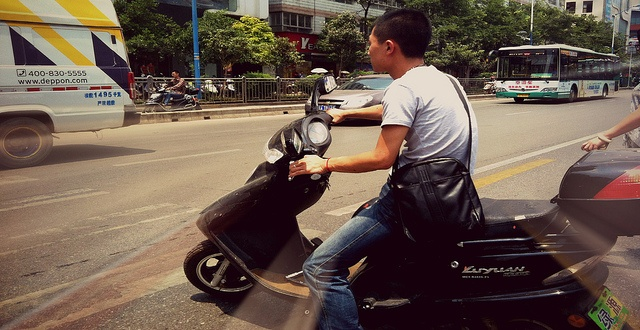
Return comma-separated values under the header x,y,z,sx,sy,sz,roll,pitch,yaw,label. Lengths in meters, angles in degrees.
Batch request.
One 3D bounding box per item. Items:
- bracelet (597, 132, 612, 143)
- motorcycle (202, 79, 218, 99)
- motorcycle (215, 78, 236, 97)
x,y,z,sx,sy,sz,roll,pitch,yaw,label
3.174,-0.307,4.610,0.157,0.070,0.094,34,29,15,bracelet
-5.328,-3.706,19.900,0.989,0.605,0.526,5,16,-17,motorcycle
-4.568,-3.768,20.202,1.065,0.667,0.595,2,26,7,motorcycle
